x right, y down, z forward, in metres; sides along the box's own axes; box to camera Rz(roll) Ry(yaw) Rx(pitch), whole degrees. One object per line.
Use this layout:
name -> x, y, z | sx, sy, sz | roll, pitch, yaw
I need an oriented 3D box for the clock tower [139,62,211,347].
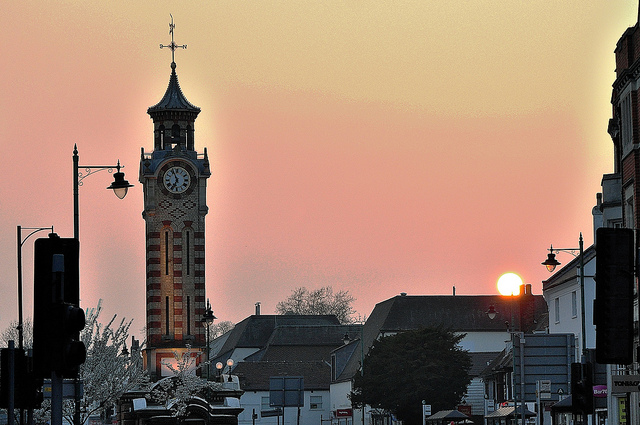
clock tower -> -12.424, -0.825, 159.504 | 5.477, 26.218, 3.573 | 1, -19, -8
